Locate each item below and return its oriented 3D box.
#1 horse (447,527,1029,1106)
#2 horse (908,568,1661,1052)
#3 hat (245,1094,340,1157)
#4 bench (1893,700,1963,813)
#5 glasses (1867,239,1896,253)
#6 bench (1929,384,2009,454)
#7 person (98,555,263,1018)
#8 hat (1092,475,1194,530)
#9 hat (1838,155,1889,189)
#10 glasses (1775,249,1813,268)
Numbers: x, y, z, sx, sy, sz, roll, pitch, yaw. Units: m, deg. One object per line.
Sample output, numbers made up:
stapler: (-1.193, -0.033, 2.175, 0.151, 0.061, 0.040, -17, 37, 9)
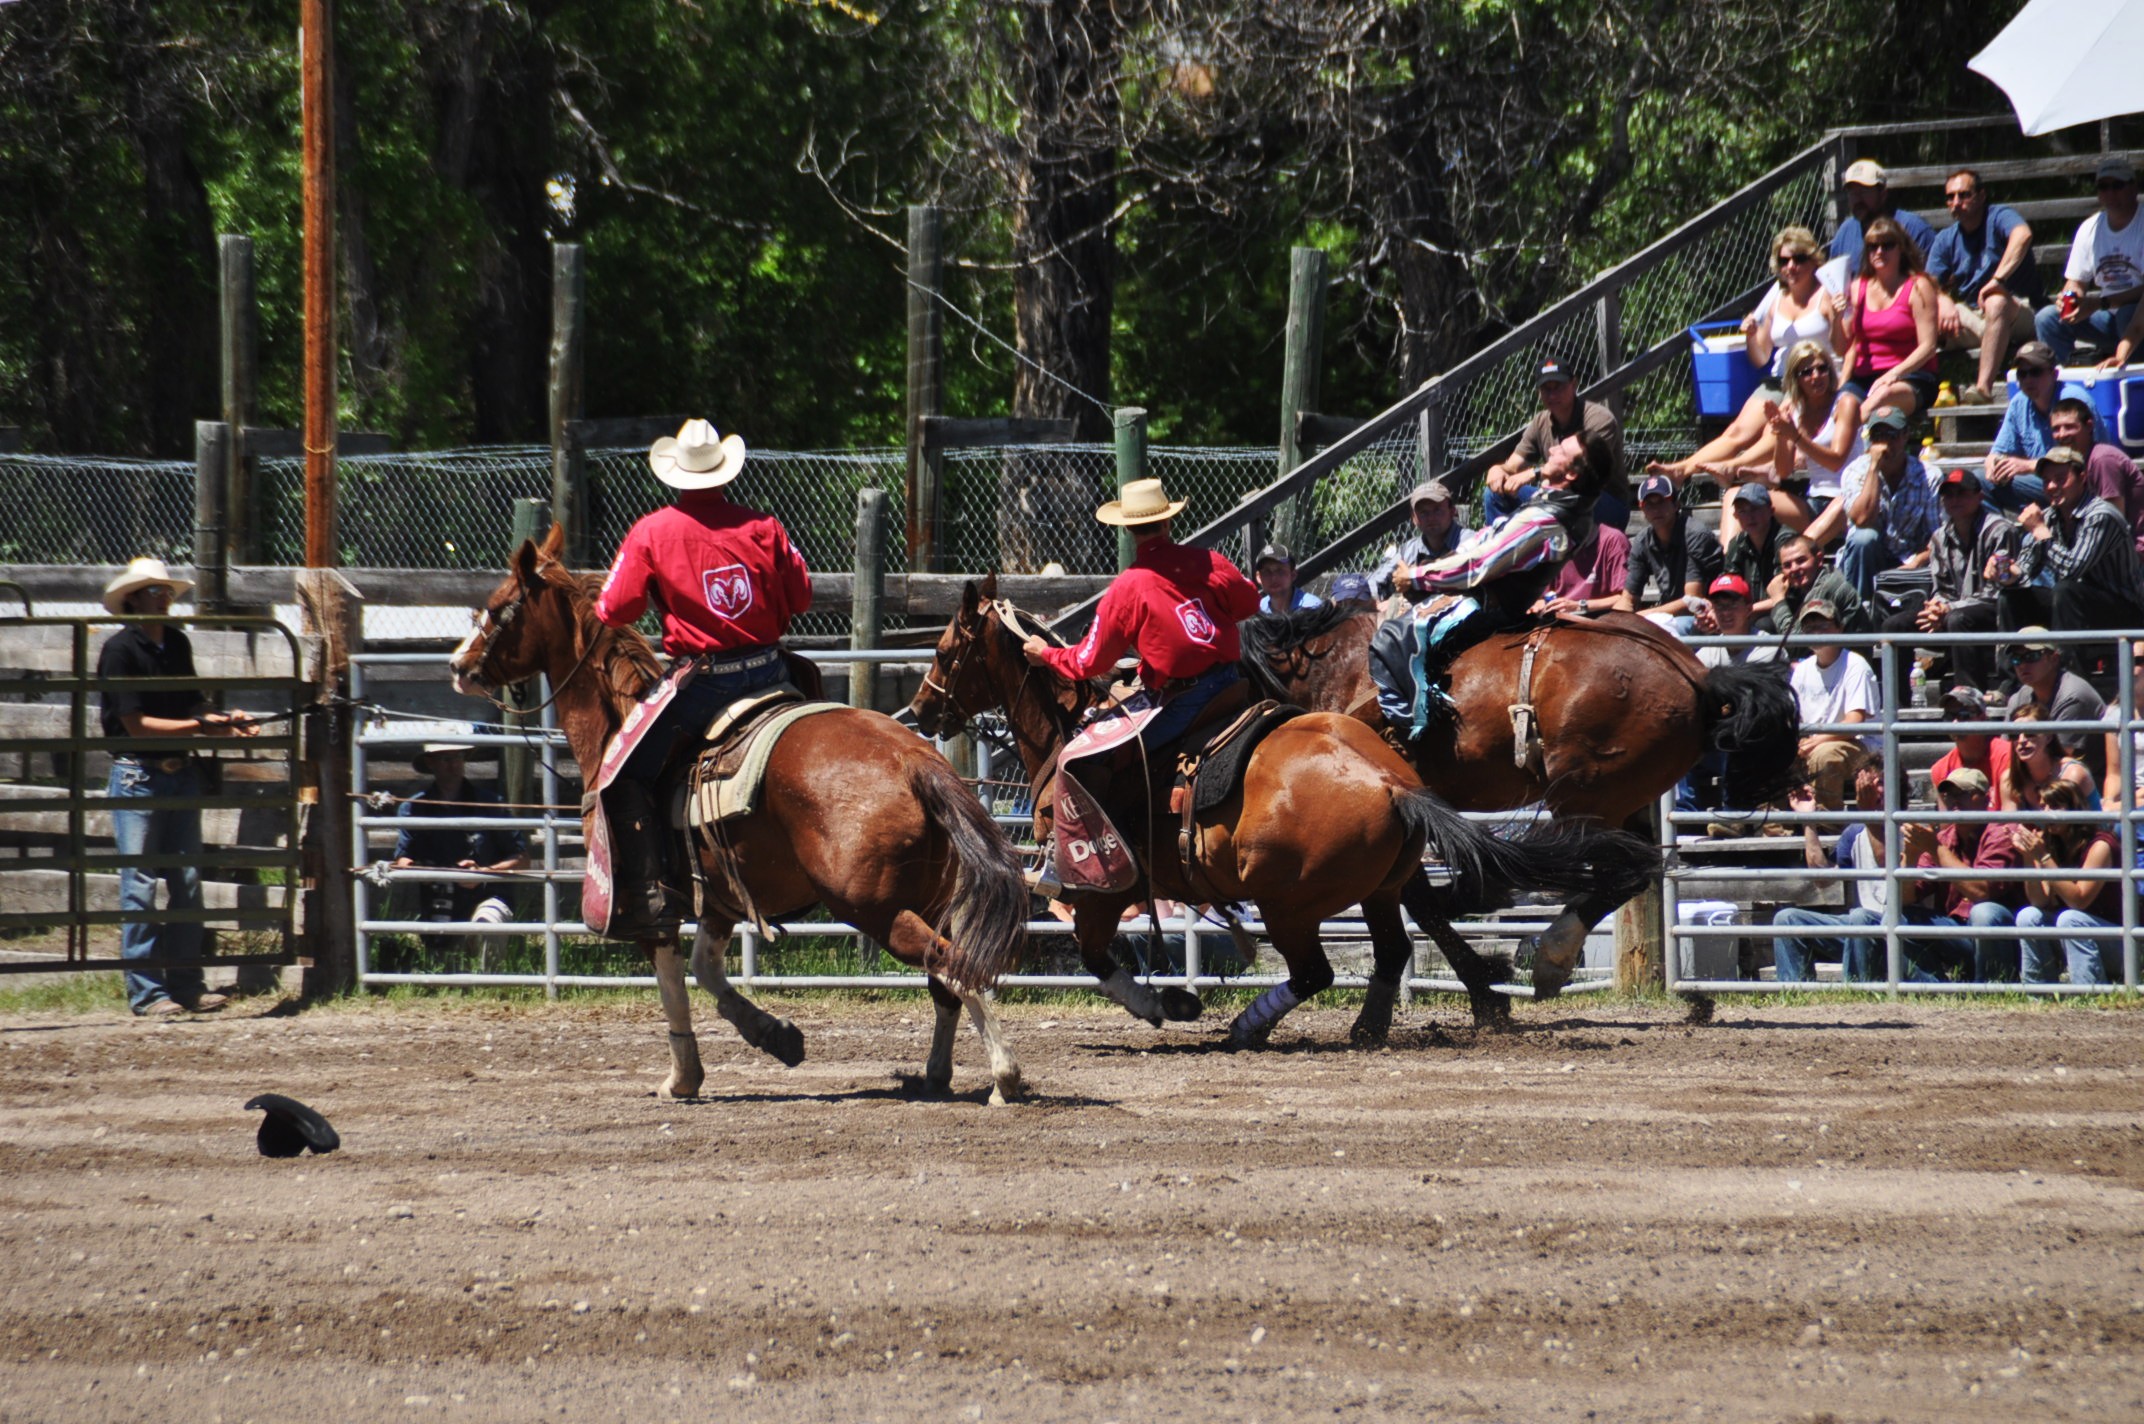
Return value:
horse: (-2.381, 0.986, 29.358, 5.165, 3.949, 1.560, 6, 13, 37)
horse: (1.440, 1.007, 30.139, 5.553, 3.612, 1.421, 7, 22, 15)
hat: (-5.269, 2.878, 27.694, 0.560, 0.370, 0.193, 20, -36, 6)
bench: (6.496, 0.334, 31.728, 0.185, 0.746, 0.748, 6, -4, -2)
glasses: (6.704, -3.959, 34.487, 0.072, 0.132, 0.237, 1, 0, -31)
bench: (7.479, -2.446, 34.611, 0.664, 0.498, 0.501, 0, 0, 15)
person: (-7.178, 0.594, 32.320, 0.990, 3.578, 0.971, 1, -1, -14)
hat: (0.477, -1.678, 32.826, 0.698, 0.291, 0.822, -11, -2, 0)
hat: (6.671, -4.526, 34.700, 0.391, 0.296, 0.543, 2, -4, 34)
glasses: (6.062, -3.860, 35.013, 0.276, 0.137, 0.117, 1, 0, 20)
